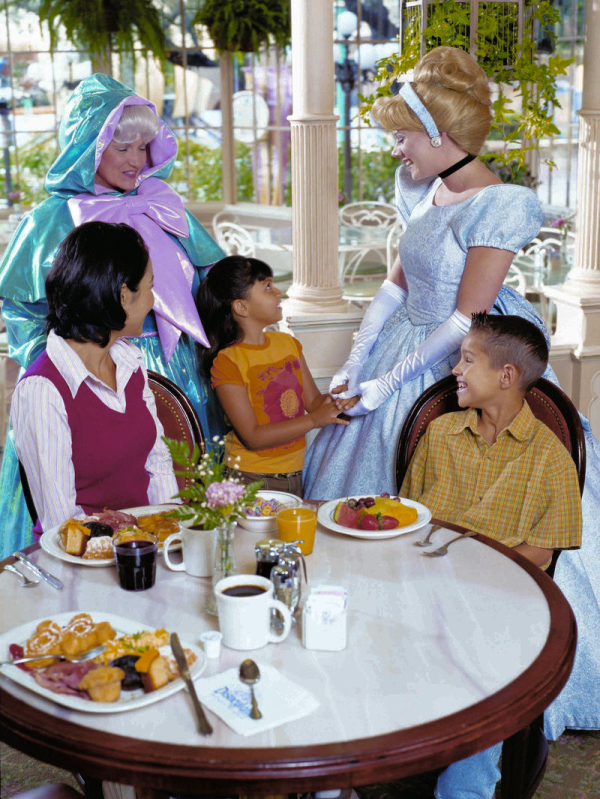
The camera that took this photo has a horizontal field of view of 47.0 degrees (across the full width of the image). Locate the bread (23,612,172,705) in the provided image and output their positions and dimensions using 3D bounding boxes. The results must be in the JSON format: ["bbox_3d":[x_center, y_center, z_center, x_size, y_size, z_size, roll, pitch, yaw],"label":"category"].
[{"bbox_3d":[-0.228,0.278,0.763,0.089,0.018,0.088,11,13,40],"label":"bread"}]

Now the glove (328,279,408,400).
[{"bbox_3d":[0.196,-0.200,2.013,0.127,0.460,0.143,21,-3,24],"label":"glove"}]

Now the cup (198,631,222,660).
[{"bbox_3d":[-0.106,0.288,0.817,0.028,0.020,0.027,-6,3,0],"label":"cup"}]

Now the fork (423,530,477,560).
[{"bbox_3d":[0.250,0.240,1.141,0.030,0.020,0.188,-3,1,31],"label":"fork"}]

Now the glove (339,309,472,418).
[{"bbox_3d":[0.280,-0.085,1.893,0.134,0.431,0.127,14,38,-45],"label":"glove"}]

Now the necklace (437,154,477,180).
[{"bbox_3d":[0.417,-0.613,1.819,0.061,0.015,0.064,-34,3,5],"label":"necklace"}]

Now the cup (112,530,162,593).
[{"bbox_3d":[-0.236,0.231,1.039,0.076,0.079,0.078,0,13,0],"label":"cup"}]

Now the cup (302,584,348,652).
[{"bbox_3d":[0.031,0.261,0.824,0.051,0.045,0.069,0,2,6],"label":"cup"}]

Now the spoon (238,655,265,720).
[{"bbox_3d":[-0.049,0.301,0.712,0.019,0.011,0.086,7,17,-11],"label":"spoon"}]

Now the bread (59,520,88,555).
[{"bbox_3d":[-0.357,0.217,1.094,0.021,0.050,0.043,-14,-15,21],"label":"bread"}]

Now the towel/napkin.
[{"bbox_3d":[-0.051,0.306,0.716,0.100,0.014,0.131,-5,9,-32],"label":"towel/napkin"}]

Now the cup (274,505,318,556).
[{"bbox_3d":[-0.006,0.207,1.108,0.072,0.073,0.076,0,2,0],"label":"cup"}]

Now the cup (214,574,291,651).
[{"bbox_3d":[-0.060,0.262,0.832,0.101,0.064,0.069,9,12,41],"label":"cup"}]
